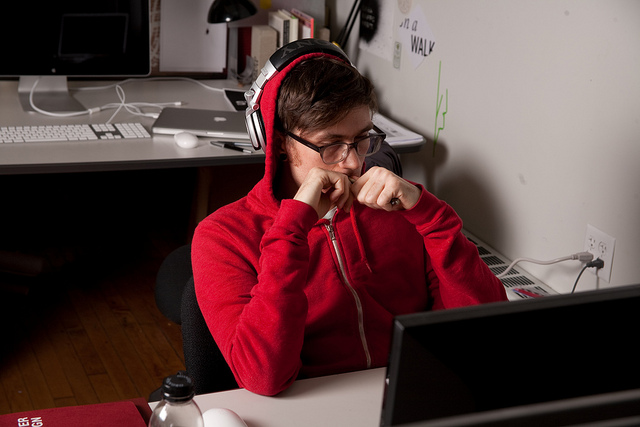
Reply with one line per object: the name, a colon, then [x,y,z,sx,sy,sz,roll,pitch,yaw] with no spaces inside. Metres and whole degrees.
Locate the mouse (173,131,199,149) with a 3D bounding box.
mouse: [-0.574,-0.318,2.059,0.100,0.067,0.105,-3,15,-19]

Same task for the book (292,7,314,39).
book: [-0.091,-1.069,2.661,0.058,0.168,0.258,-3,15,-19]
